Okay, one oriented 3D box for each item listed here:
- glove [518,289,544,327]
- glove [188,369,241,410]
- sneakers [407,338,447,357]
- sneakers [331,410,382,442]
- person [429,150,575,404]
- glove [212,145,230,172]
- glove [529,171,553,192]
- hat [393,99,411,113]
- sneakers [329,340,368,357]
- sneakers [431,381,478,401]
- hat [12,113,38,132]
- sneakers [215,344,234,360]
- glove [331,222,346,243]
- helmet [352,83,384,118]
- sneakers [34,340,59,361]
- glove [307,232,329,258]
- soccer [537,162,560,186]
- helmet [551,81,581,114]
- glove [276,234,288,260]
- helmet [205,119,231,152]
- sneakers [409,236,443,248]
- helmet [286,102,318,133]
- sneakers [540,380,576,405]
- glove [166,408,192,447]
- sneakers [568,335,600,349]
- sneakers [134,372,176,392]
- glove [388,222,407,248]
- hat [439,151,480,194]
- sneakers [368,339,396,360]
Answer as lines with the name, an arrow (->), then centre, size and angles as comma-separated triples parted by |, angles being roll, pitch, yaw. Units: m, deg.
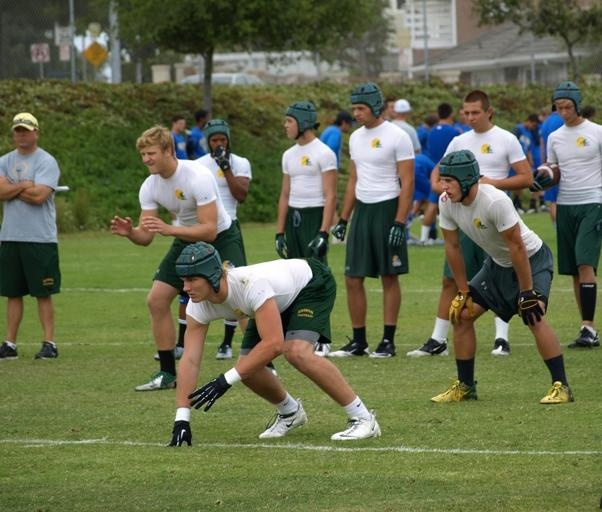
glove -> 2.050, 0.455, 11.543 | 0.222, 0.325, 0.235 | 0, 9, 7
glove -> -0.743, 1.088, 10.590 | 0.143, 0.176, 0.548 | -22, 11, 31
sneakers -> 1.355, 0.970, 13.638 | 0.464, 0.200, 0.168 | 0, -1, -9
sneakers -> 0.480, 1.434, 10.917 | 0.499, 0.244, 0.174 | -5, -3, -13
person -> 1.767, 0.181, 11.672 | 1.162, 2.251, 0.633 | 0, 9, 8
glove -> -0.794, -0.971, 13.106 | 0.170, 0.222, 0.101 | -29, -1, 33
glove -> 2.531, -0.761, 13.684 | 0.248, 0.180, 0.198 | -20, 11, -2
hat -> 1.600, -2.325, 20.646 | 0.296, 0.194, 0.370 | 0, 10, 0
sneakers -> 0.530, 0.975, 13.647 | 0.472, 0.206, 0.158 | 1, -3, -8
sneakers -> 1.415, 1.241, 11.865 | 0.431, 0.175, 0.170 | -2, -3, -11
hat -> -2.865, -1.418, 13.479 | 0.248, 0.178, 0.339 | 0, -3, 3
sneakers -> -0.797, 1.007, 13.527 | 0.129, 0.147, 0.331 | -1, -4, 1
glove -> 0.365, -0.271, 14.266 | 0.222, 0.226, 0.161 | -1, -2, 14
helmet -> 0.692, -1.616, 13.629 | 0.325, 0.346, 0.345 | -1, 9, 2
sneakers -> -2.642, 0.967, 13.448 | 0.240, 0.163, 0.251 | -3, 10, -11
glove -> 0.211, -0.131, 13.658 | 0.083, 0.275, 0.201 | 31, -10, -22
soccer -> 2.661, -0.864, 13.884 | 0.263, 0.239, 0.196 | 18, -2, -1
helmet -> 2.771, -1.643, 13.573 | 0.272, 0.287, 0.310 | -2, 3, 39
glove -> -0.242, -0.083, 14.204 | 0.100, 0.258, 0.144 | -4, 15, 13
helmet -> -0.889, -1.230, 13.226 | 0.266, 0.331, 0.302 | -5, 5, -9
sneakers -> 2.174, -0.205, 22.503 | 0.211, 0.281, 0.631 | 1, -2, 42
helmet -> 0.005, -1.473, 13.975 | 0.331, 0.329, 0.399 | -1, 9, -1
sneakers -> 2.273, 1.236, 11.538 | 0.161, 0.135, 0.302 | -6, -7, 39
glove -> -1.007, 1.400, 10.706 | 0.194, 0.296, 0.290 | -2, 9, -5
sneakers -> 2.964, 0.894, 13.543 | 0.346, 0.148, 0.134 | 2, -7, -32
sneakers -> -1.411, 1.202, 12.342 | 0.418, 0.167, 0.137 | 2, -2, -28
glove -> 1.002, -0.214, 13.571 | 0.182, 0.268, 0.184 | -1, 9, 1
hat -> 1.351, -0.698, 11.400 | 0.362, 0.422, 0.339 | -14, 5, -16
sneakers -> 0.844, 0.976, 13.536 | 0.137, 0.143, 0.318 | -2, -6, 31
